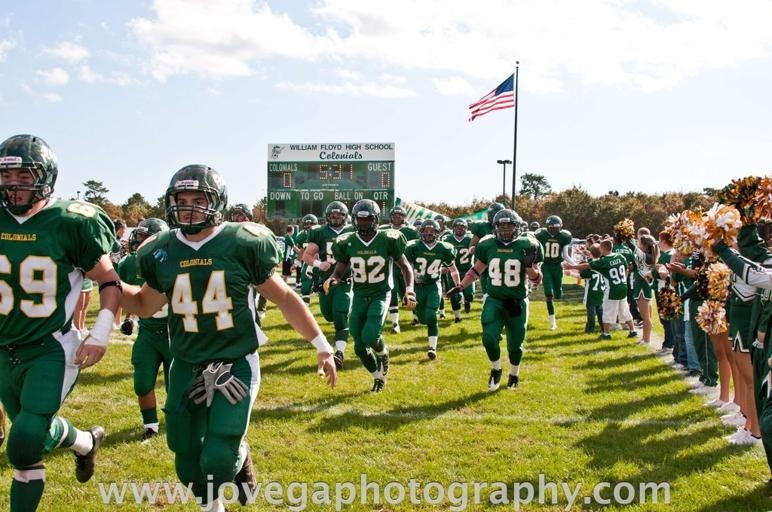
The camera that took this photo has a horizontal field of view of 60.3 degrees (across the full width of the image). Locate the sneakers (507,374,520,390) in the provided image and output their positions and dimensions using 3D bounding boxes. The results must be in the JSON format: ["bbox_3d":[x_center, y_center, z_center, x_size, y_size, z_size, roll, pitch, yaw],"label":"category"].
[{"bbox_3d":[1.735,1.701,8.987,0.174,0.216,0.155,2,-11,-4],"label":"sneakers"}]

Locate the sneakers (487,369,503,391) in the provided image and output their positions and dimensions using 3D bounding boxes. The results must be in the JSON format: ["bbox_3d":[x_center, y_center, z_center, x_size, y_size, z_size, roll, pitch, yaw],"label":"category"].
[{"bbox_3d":[1.447,1.659,8.874,0.155,0.361,0.122,38,-33,-23],"label":"sneakers"}]

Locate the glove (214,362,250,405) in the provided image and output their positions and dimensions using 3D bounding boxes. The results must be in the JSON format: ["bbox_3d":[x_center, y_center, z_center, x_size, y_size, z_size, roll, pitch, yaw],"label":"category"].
[{"bbox_3d":[-1.272,1.045,5.459,0.231,0.298,0.149,3,10,17],"label":"glove"}]

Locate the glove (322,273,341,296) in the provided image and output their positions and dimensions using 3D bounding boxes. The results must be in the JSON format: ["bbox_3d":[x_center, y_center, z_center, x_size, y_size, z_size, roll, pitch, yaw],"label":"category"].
[{"bbox_3d":[-0.768,0.415,9.445,0.097,0.394,0.134,30,3,20],"label":"glove"}]

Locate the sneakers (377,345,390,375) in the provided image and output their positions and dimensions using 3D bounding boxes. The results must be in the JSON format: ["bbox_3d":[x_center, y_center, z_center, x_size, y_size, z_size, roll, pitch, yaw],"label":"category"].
[{"bbox_3d":[-0.014,1.410,9.046,0.151,0.446,0.201,1,21,22],"label":"sneakers"}]

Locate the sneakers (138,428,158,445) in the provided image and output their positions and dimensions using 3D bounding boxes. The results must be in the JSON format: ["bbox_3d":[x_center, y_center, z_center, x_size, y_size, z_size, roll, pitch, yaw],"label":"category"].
[{"bbox_3d":[-2.615,1.939,7.239,0.082,0.080,0.192,0,-7,13],"label":"sneakers"}]

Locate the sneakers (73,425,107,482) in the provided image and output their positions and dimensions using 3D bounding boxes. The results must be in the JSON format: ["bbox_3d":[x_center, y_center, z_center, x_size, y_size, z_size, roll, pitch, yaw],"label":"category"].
[{"bbox_3d":[-2.793,1.888,6.269,0.201,0.560,0.245,3,5,26],"label":"sneakers"}]
